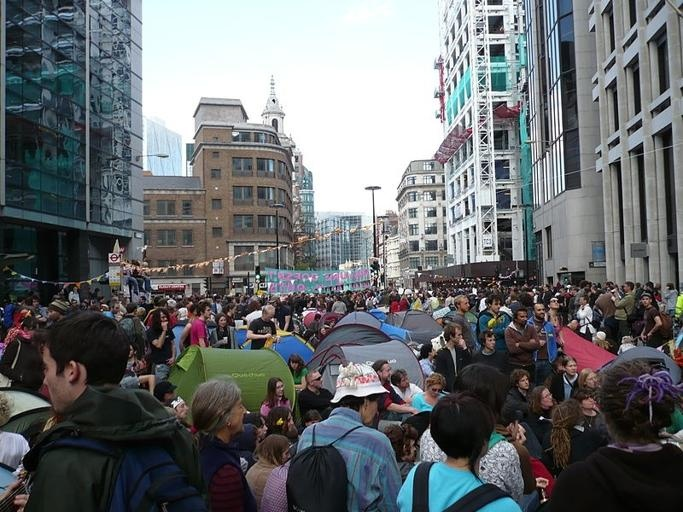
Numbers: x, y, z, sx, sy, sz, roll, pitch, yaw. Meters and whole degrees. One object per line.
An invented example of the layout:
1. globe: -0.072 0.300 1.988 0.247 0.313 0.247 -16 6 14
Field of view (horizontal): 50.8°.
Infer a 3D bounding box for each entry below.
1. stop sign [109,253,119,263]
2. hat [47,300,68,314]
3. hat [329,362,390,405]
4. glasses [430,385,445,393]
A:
1. stop sign: -8.551 0.031 27.058 0.305 0.328 0.063 -4 -10 6
2. hat: -5.306 0.927 13.488 0.306 0.309 0.250 4 23 -35
3. hat: 0.179 1.251 7.300 0.347 0.293 0.497 -10 -10 23
4. glasses: 1.439 1.966 10.800 0.129 0.095 0.167 2 -7 -9
